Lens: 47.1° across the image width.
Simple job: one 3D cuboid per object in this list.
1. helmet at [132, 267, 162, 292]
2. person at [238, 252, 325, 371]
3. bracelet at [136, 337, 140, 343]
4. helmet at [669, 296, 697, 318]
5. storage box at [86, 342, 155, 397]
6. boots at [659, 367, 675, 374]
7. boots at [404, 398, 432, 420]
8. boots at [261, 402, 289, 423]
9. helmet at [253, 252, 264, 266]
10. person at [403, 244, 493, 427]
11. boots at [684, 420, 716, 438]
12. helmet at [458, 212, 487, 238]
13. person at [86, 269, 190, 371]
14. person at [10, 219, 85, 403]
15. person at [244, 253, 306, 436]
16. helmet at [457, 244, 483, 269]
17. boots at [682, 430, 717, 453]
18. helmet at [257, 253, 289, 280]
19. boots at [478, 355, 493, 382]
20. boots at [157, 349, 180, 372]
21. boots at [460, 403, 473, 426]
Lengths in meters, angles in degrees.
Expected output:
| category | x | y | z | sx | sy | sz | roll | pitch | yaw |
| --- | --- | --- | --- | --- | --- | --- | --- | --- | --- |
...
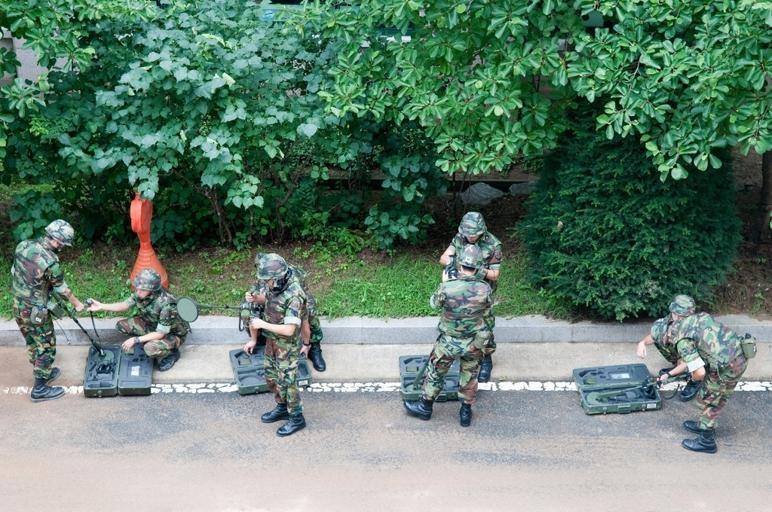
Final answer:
| category | x | y | z | sx | sy | sz | roll | pitch | yaw |
| --- | --- | --- | --- | --- | --- | --- | --- | --- | --- |
| helmet | -3.096 | 0.313 | 11.618 | 0.303 | 0.273 | 0.321 | 17 | 30 | 18 |
| person | -1.359 | 0.794 | 11.453 | 0.910 | 0.813 | 2.349 | 18 | -10 | 15 |
| bracelet | -3.281 | 1.114 | 11.692 | 0.062 | 0.055 | 0.015 | -14 | -7 | -20 |
| helmet | 3.685 | 0.624 | 10.924 | 0.272 | 0.239 | 0.268 | 17 | 38 | 1 |
| storage box | -3.573 | 1.478 | 11.810 | 0.872 | 0.586 | 0.871 | -8 | 22 | -6 |
| boots | 3.614 | 1.507 | 11.422 | 0.156 | 0.074 | 0.205 | -2 | 11 | 15 |
| boots | 0.419 | 1.959 | 11.298 | 0.311 | 0.215 | 0.123 | 22 | 32 | 4 |
| boots | -1.386 | 2.003 | 11.229 | 0.472 | 0.273 | 0.166 | 1 | 25 | -6 |
| helmet | -1.645 | 0.046 | 11.444 | 0.156 | 0.183 | 0.196 | -4 | -10 | -12 |
| person | 0.813 | 1.042 | 10.968 | 1.072 | 2.262 | 0.525 | -7 | 23 | -1 |
| boots | 3.873 | 2.138 | 10.945 | 0.345 | 0.187 | 0.131 | 19 | 37 | 25 |
| helmet | 1.107 | -0.392 | 11.416 | 0.334 | 0.295 | 0.342 | -4 | 22 | 5 |
| person | -3.379 | 0.849 | 11.949 | 1.378 | 1.275 | 0.944 | 5 | 18 | -5 |
| person | -4.369 | 0.727 | 11.434 | 0.981 | 2.213 | 0.578 | -15 | 24 | -18 |
| person | -1.306 | 1.039 | 11.016 | 0.732 | 2.278 | 0.969 | -4 | 23 | 8 |
| helmet | 1.052 | -0.022 | 10.833 | 0.258 | 0.275 | 0.308 | 10 | 29 | 6 |
| boots | 3.849 | 2.294 | 10.813 | 0.451 | 0.408 | 0.204 | 7 | 55 | 15 |
| helmet | -1.366 | 0.141 | 10.615 | 0.398 | 0.307 | 0.269 | -9 | 22 | -7 |
| boots | 1.309 | 1.493 | 11.677 | 0.229 | 0.268 | 0.403 | -1 | 16 | 14 |
| boots | -2.948 | 1.413 | 12.018 | 0.149 | 0.157 | 0.389 | 5 | 24 | 16 |
| boots | 1.015 | 2.001 | 11.179 | 0.143 | 0.287 | 0.307 | 0 | 32 | 10 |
